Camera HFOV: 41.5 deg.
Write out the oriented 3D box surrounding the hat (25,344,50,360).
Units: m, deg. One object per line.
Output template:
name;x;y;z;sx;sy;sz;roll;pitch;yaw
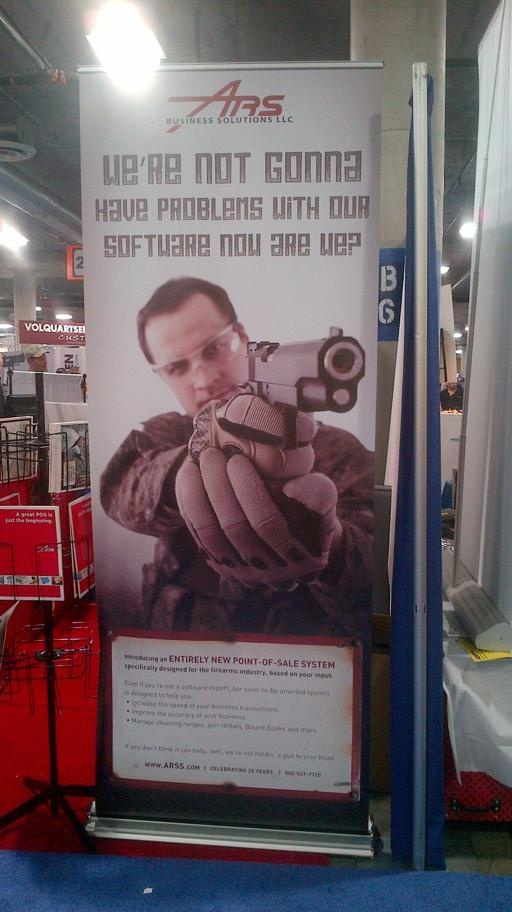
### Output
hat;-1.350;-0.634;4.122;0.110;0.081;0.220;-3;10;-25
